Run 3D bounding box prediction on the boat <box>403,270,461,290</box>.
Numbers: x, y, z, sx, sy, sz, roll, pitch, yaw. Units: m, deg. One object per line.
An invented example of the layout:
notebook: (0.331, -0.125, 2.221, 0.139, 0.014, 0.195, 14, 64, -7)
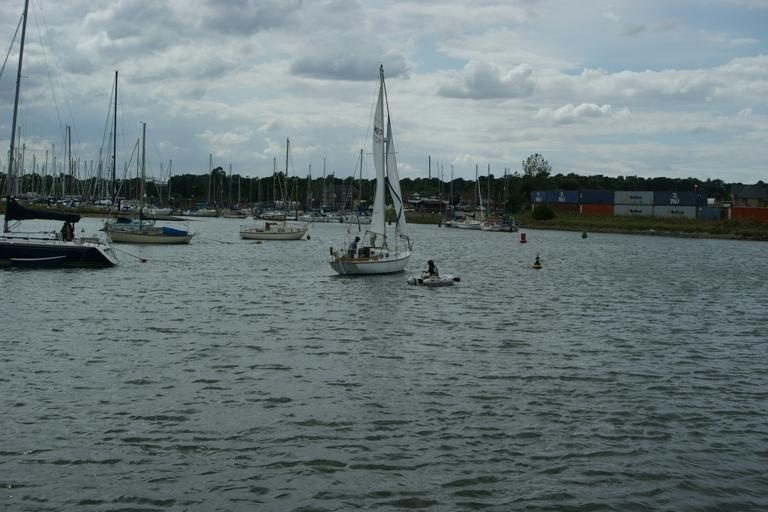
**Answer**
boat: (3.266, 1.824, 60.515, 2.760, 0.678, 1.549, 0, 4, -18)
